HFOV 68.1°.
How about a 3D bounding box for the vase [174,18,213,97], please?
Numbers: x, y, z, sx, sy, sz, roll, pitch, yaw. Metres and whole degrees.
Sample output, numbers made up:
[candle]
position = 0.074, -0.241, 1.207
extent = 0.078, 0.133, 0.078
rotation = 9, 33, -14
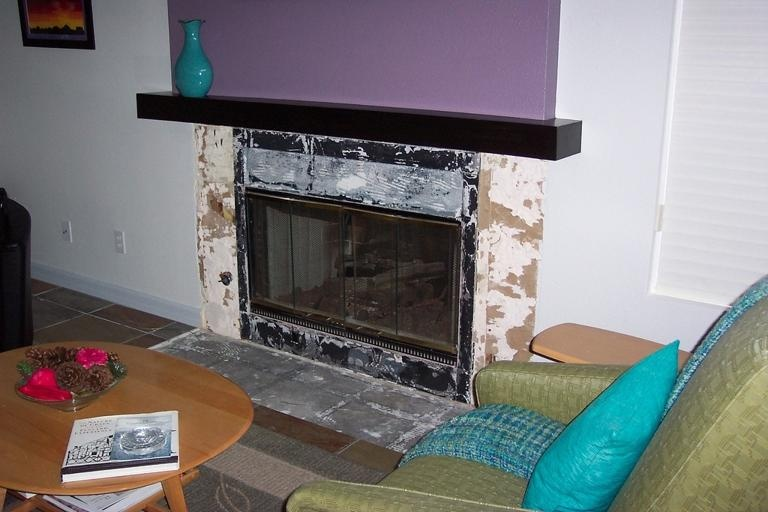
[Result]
[vase]
position = -1.111, -1.129, 3.294
extent = 0.215, 0.415, 0.113
rotation = -2, 20, -12

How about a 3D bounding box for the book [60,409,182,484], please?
[book]
position = -0.930, 0.673, 2.047
extent = 0.373, 0.063, 0.299
rotation = -3, 20, -16
